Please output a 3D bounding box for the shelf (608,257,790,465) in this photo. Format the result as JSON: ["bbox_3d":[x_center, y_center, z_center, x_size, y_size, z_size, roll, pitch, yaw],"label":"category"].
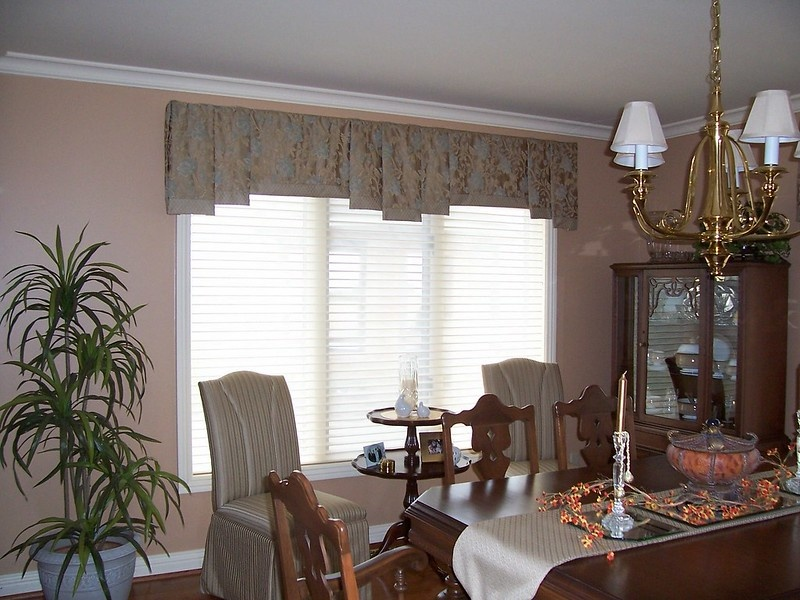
[{"bbox_3d":[2.042,0.397,4.208,0.538,1.698,1.382,0,-1,-25],"label":"shelf"}]

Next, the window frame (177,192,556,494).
[{"bbox_3d":[-0.331,0.294,4.262,1.952,1.586,0.085,-2,3,-18],"label":"window frame"}]

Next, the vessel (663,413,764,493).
[{"bbox_3d":[1.272,0.615,2.685,0.294,0.276,0.304,0,-5,0],"label":"vessel"}]

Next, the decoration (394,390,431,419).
[{"bbox_3d":[0.072,0.650,3.913,0.203,0.154,0.116,-1,0,-19],"label":"decoration"}]
